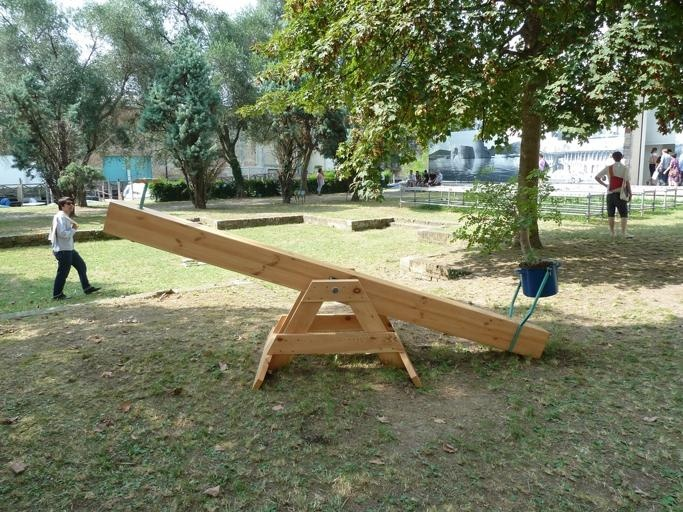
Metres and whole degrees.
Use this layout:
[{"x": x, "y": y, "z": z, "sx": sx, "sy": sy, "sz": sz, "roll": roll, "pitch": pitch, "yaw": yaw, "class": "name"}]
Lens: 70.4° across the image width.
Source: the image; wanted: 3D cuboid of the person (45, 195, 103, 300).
[{"x": -4.627, "y": -0.183, "z": 8.169, "sx": 0.660, "sy": 1.605, "sz": 1.472, "roll": -8, "pitch": 10, "yaw": -30, "class": "person"}]

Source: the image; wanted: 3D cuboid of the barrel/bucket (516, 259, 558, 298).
[{"x": 2.249, "y": 0.266, "z": 5.423, "sx": 0.537, "sy": 0.330, "sz": 0.434, "roll": -10, "pitch": 8, "yaw": -4, "class": "barrel/bucket"}]
